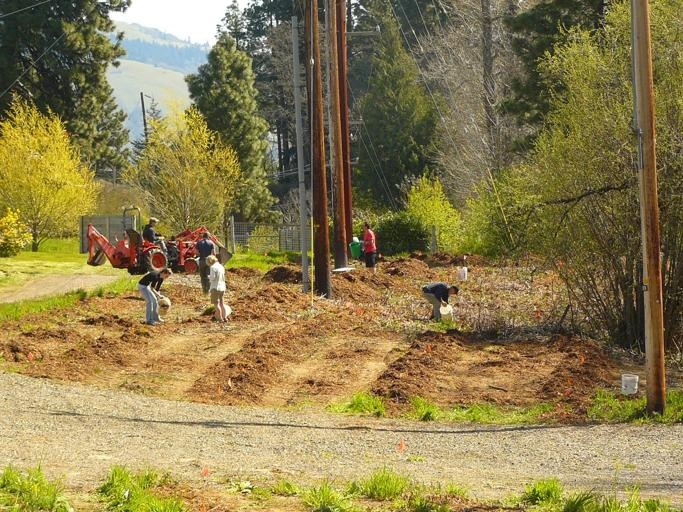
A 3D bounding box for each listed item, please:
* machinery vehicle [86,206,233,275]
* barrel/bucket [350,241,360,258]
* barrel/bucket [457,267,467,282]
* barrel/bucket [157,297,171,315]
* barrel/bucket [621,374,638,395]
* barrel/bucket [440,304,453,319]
[{"bbox_3d":[-7.129,-0.474,57.646,5.193,3.069,2.791,-2,-2,-22],"label":"machinery vehicle"},{"bbox_3d":[0.553,-0.161,59.915,0.355,0.712,0.590,-1,-2,-3],"label":"barrel/bucket"},{"bbox_3d":[4.551,0.782,55.018,0.350,0.638,0.407,1,8,6],"label":"barrel/bucket"},{"bbox_3d":[-6.023,1.622,49.433,0.394,0.637,0.632,-1,-43,-5],"label":"barrel/bucket"},{"bbox_3d":[8.502,3.865,43.041,0.454,0.628,0.512,0,2,19],"label":"barrel/bucket"},{"bbox_3d":[3.513,1.937,48.559,0.353,0.343,0.379,-1,0,0],"label":"barrel/bucket"}]
